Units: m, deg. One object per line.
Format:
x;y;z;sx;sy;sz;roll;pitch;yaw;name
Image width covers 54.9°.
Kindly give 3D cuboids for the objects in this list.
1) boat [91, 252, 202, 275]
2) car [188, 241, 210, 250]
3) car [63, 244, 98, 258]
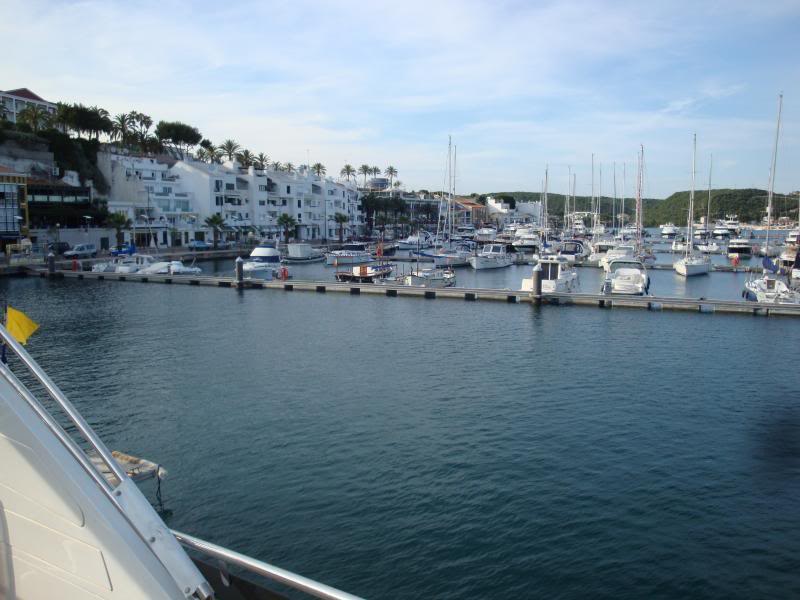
-22.922;-2.939;68.294;7.711;1.666;6.554;3;9;20;boat
-25.865;-6.907;98.732;2.462;0.890;4.333;0;9;1;car
-33.100;-4.978;80.040;3.051;1.168;1.809;-2;4;-43;car
